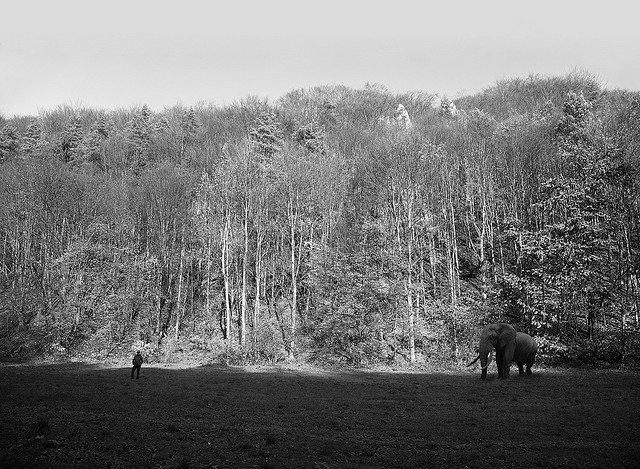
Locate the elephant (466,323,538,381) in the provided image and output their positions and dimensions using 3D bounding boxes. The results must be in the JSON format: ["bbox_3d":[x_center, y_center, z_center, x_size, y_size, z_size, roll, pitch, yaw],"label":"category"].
[{"bbox_3d":[12.060,7.650,36.901,5.133,3.712,2.345,5,-5,-23],"label":"elephant"}]
